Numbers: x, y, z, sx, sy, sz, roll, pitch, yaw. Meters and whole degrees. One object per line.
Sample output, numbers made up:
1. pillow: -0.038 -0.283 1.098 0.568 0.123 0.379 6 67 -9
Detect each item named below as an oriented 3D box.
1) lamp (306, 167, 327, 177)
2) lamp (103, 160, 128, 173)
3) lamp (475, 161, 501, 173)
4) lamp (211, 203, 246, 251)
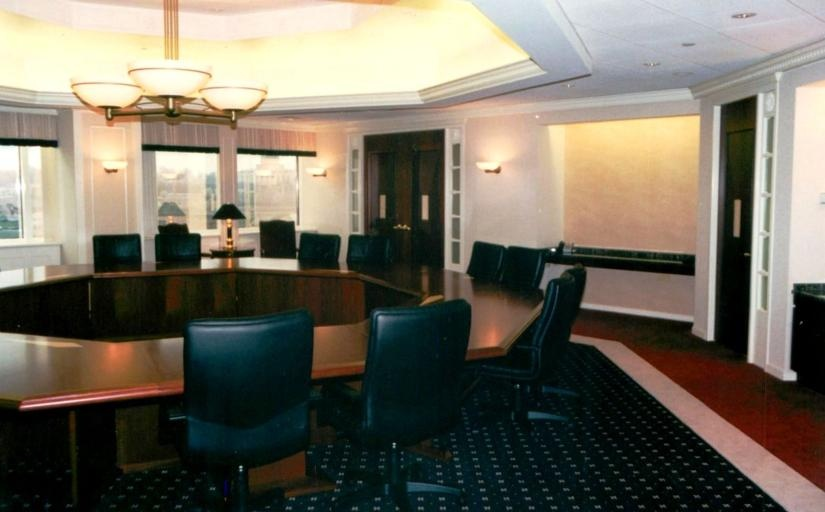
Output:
1. lamp: -1.807 -1.608 11.934 0.382 0.188 0.215 -1 9 4
2. lamp: -4.614 -1.388 9.620 0.242 0.112 0.255 -1 4 -6
3. lamp: 1.155 -1.352 9.526 0.385 0.166 0.238 6 11 42
4. lamp: -2.814 -0.440 9.619 0.467 0.667 0.482 -9 -12 -5
